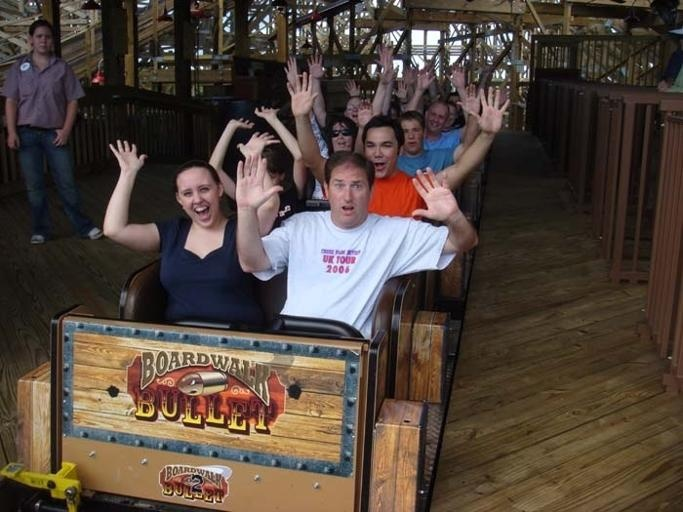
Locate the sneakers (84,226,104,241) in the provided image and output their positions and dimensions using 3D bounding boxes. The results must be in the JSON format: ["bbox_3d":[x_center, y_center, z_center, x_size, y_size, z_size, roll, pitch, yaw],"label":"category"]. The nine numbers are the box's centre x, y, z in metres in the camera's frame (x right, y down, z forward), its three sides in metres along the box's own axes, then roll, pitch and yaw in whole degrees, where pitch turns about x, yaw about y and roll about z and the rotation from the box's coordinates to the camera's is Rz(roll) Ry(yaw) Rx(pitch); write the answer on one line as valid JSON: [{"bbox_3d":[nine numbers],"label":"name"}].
[{"bbox_3d":[-2.302,-0.190,5.314,0.036,0.079,0.113,22,71,50],"label":"sneakers"}]

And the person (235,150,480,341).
[{"bbox_3d":[0.048,-0.042,2.726,1.024,0.776,0.378,4,17,14],"label":"person"}]
